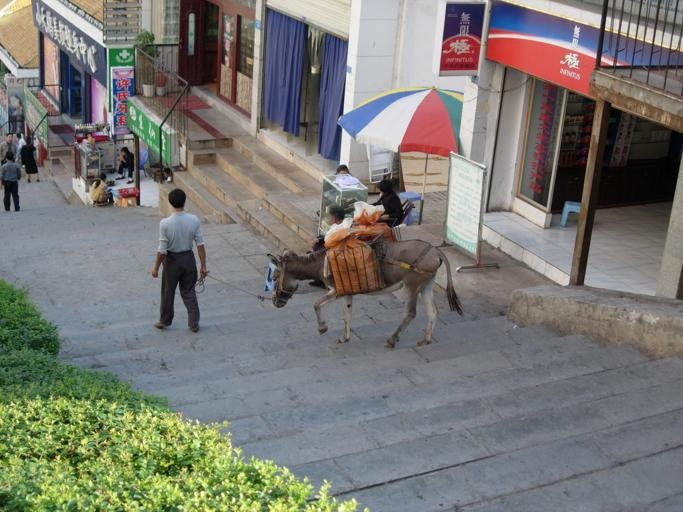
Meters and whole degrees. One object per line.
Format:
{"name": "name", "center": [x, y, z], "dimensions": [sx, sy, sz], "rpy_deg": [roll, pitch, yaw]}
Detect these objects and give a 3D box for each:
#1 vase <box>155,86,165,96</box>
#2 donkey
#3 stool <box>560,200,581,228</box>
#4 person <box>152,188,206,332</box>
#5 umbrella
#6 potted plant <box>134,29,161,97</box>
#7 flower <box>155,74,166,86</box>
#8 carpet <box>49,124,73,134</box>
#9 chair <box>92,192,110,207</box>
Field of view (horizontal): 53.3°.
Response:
{"name": "vase", "center": [-5.106, -4.651, 19.158], "dimensions": [0.248, 0.242, 0.236], "rpy_deg": [-2, 17, -8]}
{"name": "donkey", "center": [0.285, 0.370, 7.963], "dimensions": [2.089, 1.303, 0.675], "rpy_deg": [-2, 13, 5]}
{"name": "stool", "center": [3.901, -0.734, 11.581], "dimensions": [0.313, 0.417, 0.874], "rpy_deg": [0, 12, 18]}
{"name": "person", "center": [-2.024, 0.017, 8.323], "dimensions": [0.736, 1.711, 0.772], "rpy_deg": [-3, 23, -25]}
{"name": "umbrella", "center": [1.012, -2.175, 11.048], "dimensions": [1.875, 1.078, 1.145], "rpy_deg": [-2, 12, 8]}
{"name": "potted plant", "center": [-5.417, -5.401, 19.069], "dimensions": [0.619, 1.861, 0.956], "rpy_deg": [-11, 14, -28]}
{"name": "flower", "center": [-5.073, -4.948, 19.042], "dimensions": [0.318, 0.320, 0.186], "rpy_deg": [-9, 13, -23]}
{"name": "carpet", "center": [-9.788, -4.448, 23.727], "dimensions": [0.737, 0.297, 1.023], "rpy_deg": [-9, 13, -23]}
{"name": "chair", "center": [-5.831, -1.384, 16.528], "dimensions": [0.416, 0.255, 0.303], "rpy_deg": [16, 23, 42]}
